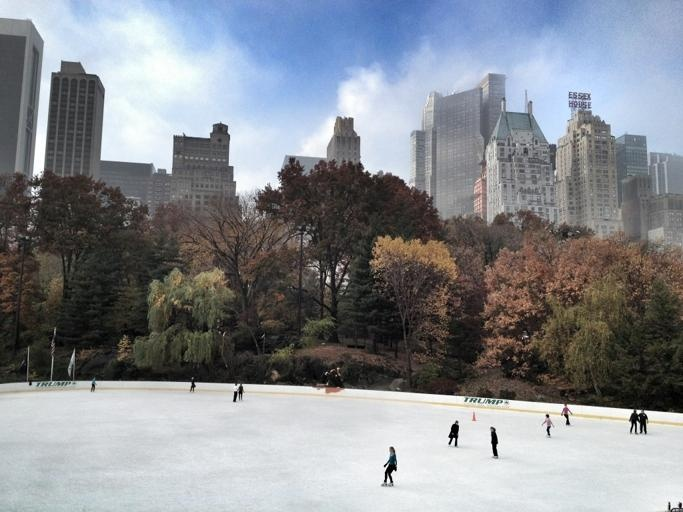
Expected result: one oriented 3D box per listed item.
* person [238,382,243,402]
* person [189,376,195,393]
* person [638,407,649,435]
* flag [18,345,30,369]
[{"bbox_3d":[-9.616,12.952,69.695,0.496,1.524,2.157,3,-8,-7],"label":"person"},{"bbox_3d":[-15.275,13.231,75.008,0.567,1.401,3.349,4,-8,-11],"label":"person"},{"bbox_3d":[23.567,12.912,56.862,0.531,1.737,1.532,-1,-9,22],"label":"person"},{"bbox_3d":[-34.297,11.009,79.178,0.900,2.529,10.227,5,-9,-22],"label":"flag"}]
